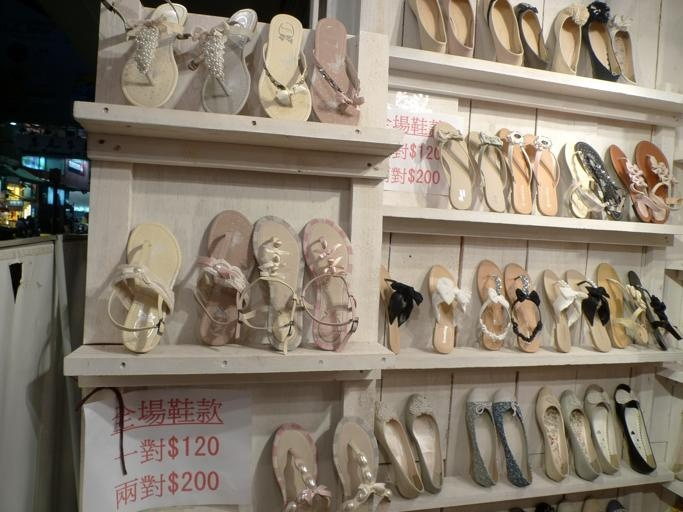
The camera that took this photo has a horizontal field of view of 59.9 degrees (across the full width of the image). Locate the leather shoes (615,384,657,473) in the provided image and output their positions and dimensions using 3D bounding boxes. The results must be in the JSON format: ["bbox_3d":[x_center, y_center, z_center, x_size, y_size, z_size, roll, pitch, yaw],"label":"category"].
[{"bbox_3d":[1.385,0.804,2.815,0.115,0.471,0.110,0,-13,-8],"label":"leather shoes"}]

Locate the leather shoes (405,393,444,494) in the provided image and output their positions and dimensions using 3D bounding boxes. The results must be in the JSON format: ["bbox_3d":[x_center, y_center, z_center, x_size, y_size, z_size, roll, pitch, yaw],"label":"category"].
[{"bbox_3d":[0.360,0.796,2.590,0.122,0.459,0.105,3,-15,-21],"label":"leather shoes"}]

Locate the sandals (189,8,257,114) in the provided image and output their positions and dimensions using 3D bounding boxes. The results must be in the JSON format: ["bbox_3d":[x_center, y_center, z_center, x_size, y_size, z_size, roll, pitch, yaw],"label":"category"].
[{"bbox_3d":[-0.427,-0.706,2.181,0.145,0.489,0.173,-1,-25,4],"label":"sandals"}]

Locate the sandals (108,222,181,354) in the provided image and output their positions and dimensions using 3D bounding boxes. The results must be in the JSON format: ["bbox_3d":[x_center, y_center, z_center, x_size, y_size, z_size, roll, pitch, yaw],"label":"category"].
[{"bbox_3d":[-0.714,0.104,2.147,0.198,0.525,0.107,10,-4,-5],"label":"sandals"}]

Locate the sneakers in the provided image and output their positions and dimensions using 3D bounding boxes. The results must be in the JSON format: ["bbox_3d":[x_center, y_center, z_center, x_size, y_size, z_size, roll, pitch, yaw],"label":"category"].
[{"bbox_3d":[0.684,0.799,2.606,0.239,0.454,0.127,1,-4,-8],"label":"sneakers"}]

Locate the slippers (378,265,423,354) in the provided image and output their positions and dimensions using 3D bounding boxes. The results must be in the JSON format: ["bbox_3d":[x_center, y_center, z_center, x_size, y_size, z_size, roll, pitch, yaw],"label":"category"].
[{"bbox_3d":[0.250,0.211,2.514,0.142,0.397,0.122,4,-2,-15],"label":"slippers"}]

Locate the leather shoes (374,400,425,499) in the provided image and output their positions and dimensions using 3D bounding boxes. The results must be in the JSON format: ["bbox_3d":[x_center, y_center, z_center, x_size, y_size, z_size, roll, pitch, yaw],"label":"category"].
[{"bbox_3d":[0.236,0.823,2.573,0.130,0.497,0.121,-5,-15,-24],"label":"leather shoes"}]

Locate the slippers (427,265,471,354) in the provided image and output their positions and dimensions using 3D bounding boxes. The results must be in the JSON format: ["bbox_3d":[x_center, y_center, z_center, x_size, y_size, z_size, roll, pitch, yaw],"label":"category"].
[{"bbox_3d":[0.462,0.225,2.596,0.142,0.427,0.120,5,1,-8],"label":"slippers"}]
